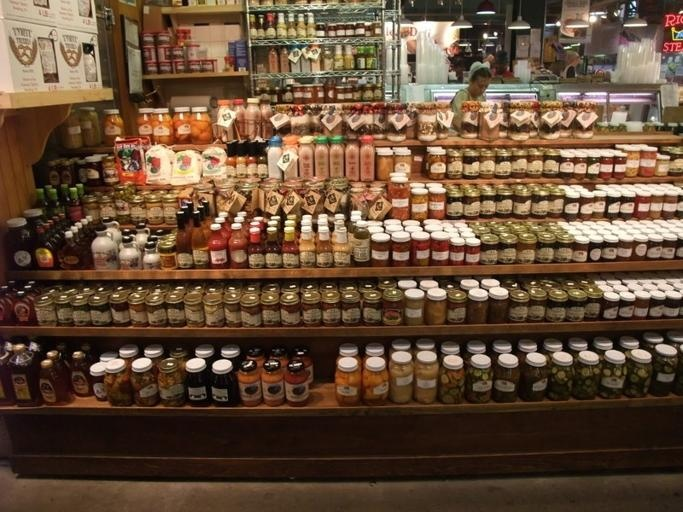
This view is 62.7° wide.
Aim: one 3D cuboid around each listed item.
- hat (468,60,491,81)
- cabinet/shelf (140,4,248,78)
[{"bbox_3d":[1.371,-1.849,5.551,0.205,0.166,0.480,1,18,12],"label":"hat"},{"bbox_3d":[-1.498,-2.182,5.637,1.324,0.568,0.543,-1,3,-4],"label":"cabinet/shelf"}]
